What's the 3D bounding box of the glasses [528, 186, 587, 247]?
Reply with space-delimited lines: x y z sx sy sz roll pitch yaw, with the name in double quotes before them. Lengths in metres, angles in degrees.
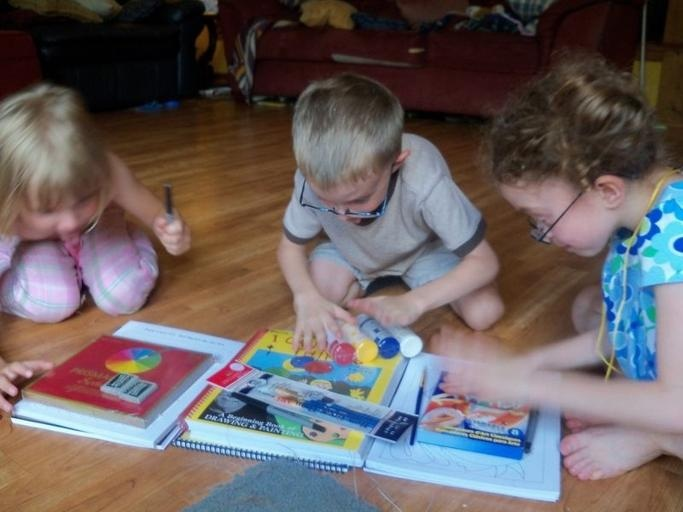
"glasses" 0.373 -0.069 0.958 0.076 0.072 0.022 -43 77 -10
